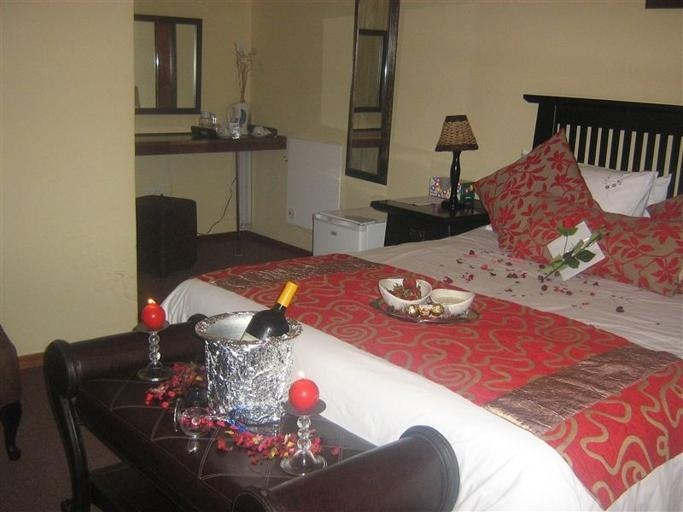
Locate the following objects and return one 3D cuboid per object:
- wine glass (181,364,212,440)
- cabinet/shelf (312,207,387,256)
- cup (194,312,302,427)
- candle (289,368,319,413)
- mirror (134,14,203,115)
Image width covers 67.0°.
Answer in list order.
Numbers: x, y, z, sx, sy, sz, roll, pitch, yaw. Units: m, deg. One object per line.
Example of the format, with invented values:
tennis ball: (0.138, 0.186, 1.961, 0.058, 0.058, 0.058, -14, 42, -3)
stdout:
wine glass: (-0.412, 0.423, 1.459, 0.067, 0.163, 0.066, 5, 26, -11)
cabinet/shelf: (0.087, -0.203, 3.977, 0.434, 0.313, 0.427, -13, 23, -36)
cup: (-0.267, 0.326, 1.466, 0.308, 0.241, 0.303, 2, -1, 0)
candle: (-0.093, 0.330, 1.274, 0.073, 0.094, 0.072, -1, 8, 11)
mirror: (-1.745, -1.930, 5.230, 0.685, 0.972, 0.048, -5, 13, -31)
